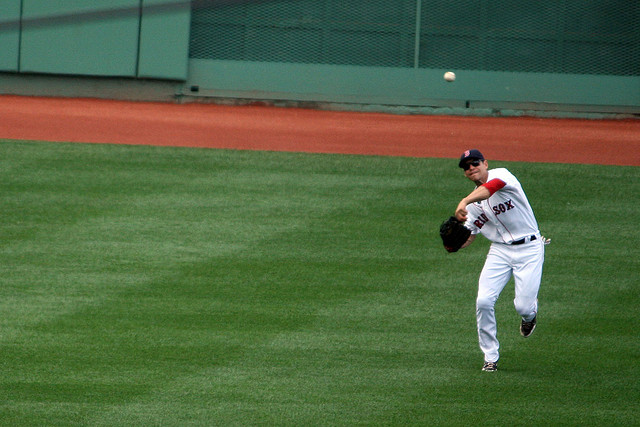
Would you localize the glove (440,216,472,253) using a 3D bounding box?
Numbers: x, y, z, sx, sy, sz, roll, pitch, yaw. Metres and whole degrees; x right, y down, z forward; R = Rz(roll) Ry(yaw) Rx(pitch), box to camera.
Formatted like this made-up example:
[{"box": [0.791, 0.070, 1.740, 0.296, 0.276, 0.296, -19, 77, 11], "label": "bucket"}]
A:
[{"box": [2.703, 0.465, 36.486, 0.670, 0.375, 0.759, -21, 37, -38], "label": "glove"}]

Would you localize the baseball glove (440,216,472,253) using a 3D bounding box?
[{"box": [2.725, 0.475, 36.526, 0.671, 0.376, 0.760, -22, 37, -39], "label": "baseball glove"}]

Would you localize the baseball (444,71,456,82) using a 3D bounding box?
[{"box": [3.500, -3.769, 48.348, 0.319, 0.197, 0.288, 21, -11, -23], "label": "baseball"}]
